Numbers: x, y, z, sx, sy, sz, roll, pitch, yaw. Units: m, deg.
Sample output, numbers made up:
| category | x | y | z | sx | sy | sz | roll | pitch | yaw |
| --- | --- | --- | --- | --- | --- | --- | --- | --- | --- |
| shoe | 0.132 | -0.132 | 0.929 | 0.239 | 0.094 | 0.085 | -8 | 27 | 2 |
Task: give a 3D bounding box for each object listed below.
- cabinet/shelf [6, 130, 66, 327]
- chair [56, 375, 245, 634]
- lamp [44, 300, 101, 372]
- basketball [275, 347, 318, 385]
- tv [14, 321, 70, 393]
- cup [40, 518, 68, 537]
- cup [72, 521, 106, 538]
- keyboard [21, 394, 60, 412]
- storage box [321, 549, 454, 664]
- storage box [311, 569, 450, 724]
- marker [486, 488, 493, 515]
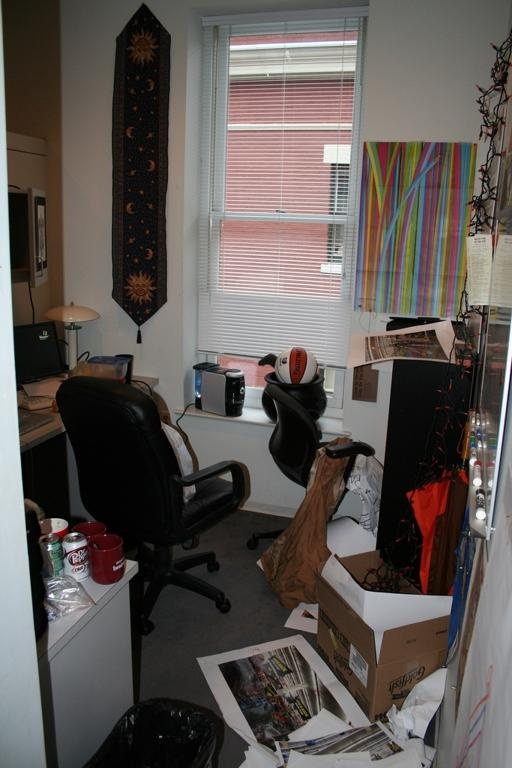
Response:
| category | x | y | z | sx | sy | sz | roll | pitch | yaw |
| --- | --- | --- | --- | --- | --- | --- | --- | --- | --- |
| cabinet/shelf | -1.273 | -0.873 | 3.143 | 0.209 | 1.042 | 0.454 | 0 | 8 | 12 |
| chair | -0.399 | 0.482 | 2.130 | 0.590 | 1.035 | 0.635 | 15 | 27 | 32 |
| lamp | -1.056 | -0.282 | 3.150 | 0.270 | 0.523 | 0.274 | 17 | 20 | 36 |
| basketball | 0.204 | -0.091 | 2.822 | 0.159 | 0.211 | 0.160 | 3 | 11 | 3 |
| tv | -1.121 | -0.138 | 2.870 | 0.078 | 0.257 | 0.354 | 8 | 10 | 16 |
| cup | -0.487 | 0.361 | 1.352 | 0.051 | 0.035 | 0.052 | 3 | 11 | -1 |
| cup | -0.448 | 0.397 | 1.481 | 0.054 | 0.047 | 0.058 | 6 | 9 | -1 |
| keyboard | -1.038 | 0.089 | 2.617 | 0.162 | 0.047 | 0.167 | 7 | 10 | 26 |
| storage box | 0.422 | 0.680 | 1.767 | 0.248 | 0.178 | 0.253 | -4 | 10 | -29 |
| storage box | 0.428 | 0.791 | 1.888 | 0.386 | 0.402 | 0.396 | 4 | 2 | -25 |
| marker | 0.314 | 0.157 | 0.743 | 0.008 | 0.027 | 0.034 | 1 | 9 | 24 |
